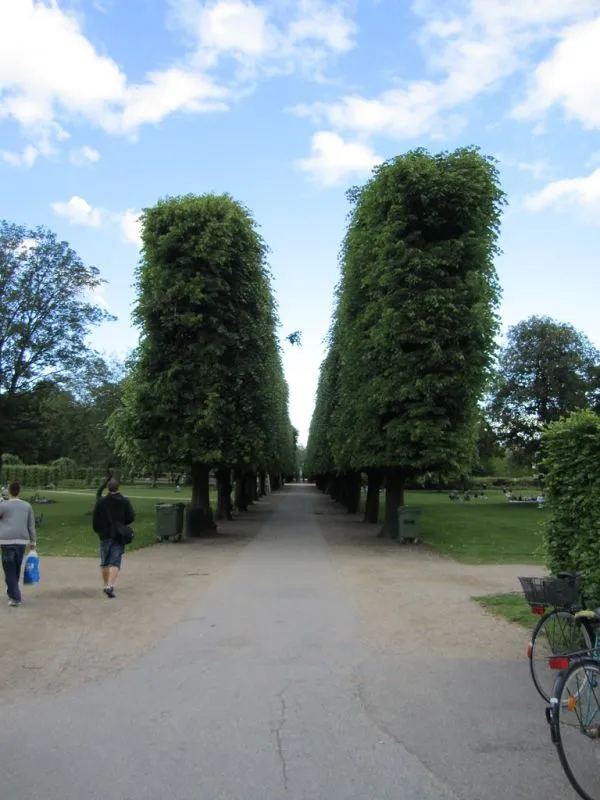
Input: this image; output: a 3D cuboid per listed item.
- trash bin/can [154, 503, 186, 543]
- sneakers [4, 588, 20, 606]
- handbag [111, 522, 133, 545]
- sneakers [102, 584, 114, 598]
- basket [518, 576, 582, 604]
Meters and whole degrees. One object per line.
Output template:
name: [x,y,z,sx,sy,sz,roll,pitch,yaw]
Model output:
trash bin/can: [-3.819,3.603,18.824,1.082,1.360,1.204,0,1,-8]
sneakers: [-3.897,2.689,8.667,0.134,0.164,0.395,4,4,-11]
handbag: [-2.674,2.024,9.662,0.361,0.348,0.260,1,3,-19]
sneakers: [-2.796,2.796,9.305,0.120,0.131,0.320,1,-10,-6]
basket: [1.925,1.405,4.787,0.498,0.223,0.338,5,-18,-8]
